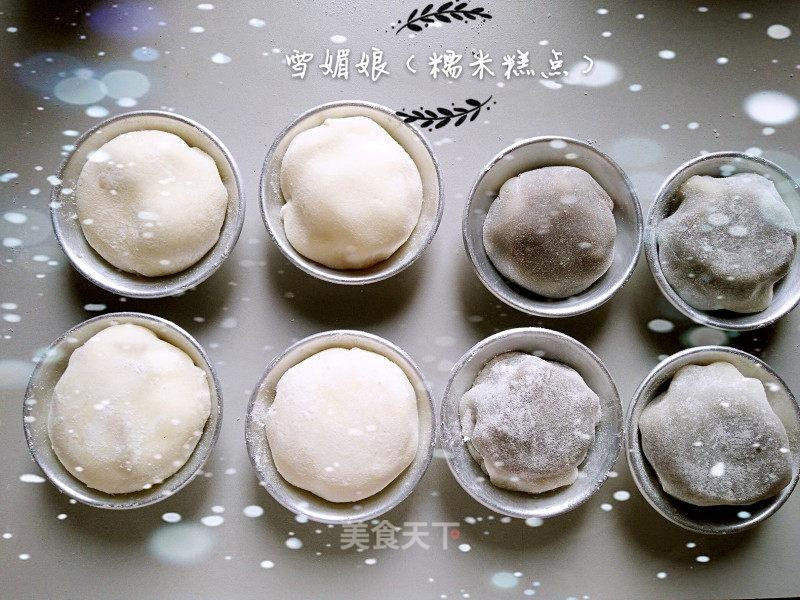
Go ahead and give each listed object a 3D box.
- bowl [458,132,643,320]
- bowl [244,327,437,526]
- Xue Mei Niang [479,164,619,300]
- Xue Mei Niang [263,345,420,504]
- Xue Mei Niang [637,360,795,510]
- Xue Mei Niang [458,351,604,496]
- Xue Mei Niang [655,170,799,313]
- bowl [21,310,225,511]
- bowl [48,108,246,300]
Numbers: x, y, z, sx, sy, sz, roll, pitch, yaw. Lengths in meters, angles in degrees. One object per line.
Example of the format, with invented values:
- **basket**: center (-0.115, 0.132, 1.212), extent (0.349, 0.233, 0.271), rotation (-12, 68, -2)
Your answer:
- **bowl**: center (0.342, -0.162, 1.701), extent (0.383, 0.147, 0.372), rotation (0, 94, 0)
- **bowl**: center (-0.145, 0.270, 1.814), extent (0.399, 0.164, 0.387), rotation (0, 96, 1)
- **Xue Mei Niang**: center (0.302, -0.138, 1.762), extent (0.252, 0.134, 0.254), rotation (-22, 69, -8)
- **Xue Mei Niang**: center (-0.116, 0.246, 1.723), extent (0.301, 0.108, 0.288), rotation (-4, 68, 0)
- **Xue Mei Niang**: center (0.625, 0.266, 1.724), extent (0.275, 0.104, 0.288), rotation (-18, 68, -6)
- **Xue Mei Niang**: center (0.257, 0.244, 1.732), extent (0.274, 0.139, 0.272), rotation (30, 71, 13)
- **Xue Mei Niang**: center (0.662, -0.119, 1.766), extent (0.273, 0.127, 0.266), rotation (0, 68, 1)
- **bowl**: center (-0.613, 0.205, 1.813), extent (0.407, 0.154, 0.396), rotation (0, 91, 1)
- **bowl**: center (-0.562, -0.192, 1.829), extent (0.396, 0.138, 0.388), rotation (0, 95, 0)
